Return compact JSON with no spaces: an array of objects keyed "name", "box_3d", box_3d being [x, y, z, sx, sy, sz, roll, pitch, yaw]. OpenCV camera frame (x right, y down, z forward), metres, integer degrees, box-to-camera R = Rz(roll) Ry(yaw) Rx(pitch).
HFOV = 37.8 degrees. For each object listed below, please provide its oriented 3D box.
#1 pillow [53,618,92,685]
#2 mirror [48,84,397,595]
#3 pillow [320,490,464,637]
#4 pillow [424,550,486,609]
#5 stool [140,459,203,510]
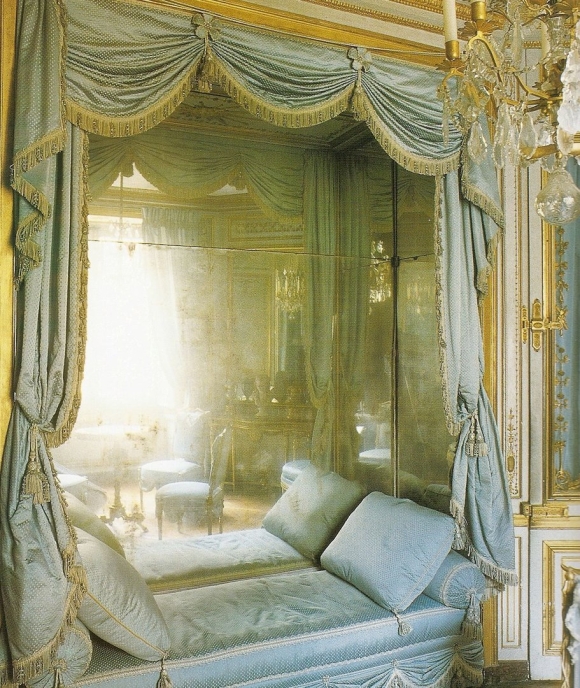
[{"name":"pillow","box_3d":[-0.742,1.055,2.915,0.045,0.192,0.196,0,-26,25]},{"name":"mirror","box_3d":[-0.350,-0.003,3.783,2.265,2.592,0.099,1,-2,-30]},{"name":"pillow","box_3d":[0.455,0.908,3.712,0.543,0.148,0.521,-24,27,-33]},{"name":"pillow","box_3d":[0.697,0.991,3.635,0.190,0.194,0.234,5,-2,-21]},{"name":"stool","box_3d":[-0.539,0.634,3.859,0.202,0.177,0.203,-1,2,12]}]
